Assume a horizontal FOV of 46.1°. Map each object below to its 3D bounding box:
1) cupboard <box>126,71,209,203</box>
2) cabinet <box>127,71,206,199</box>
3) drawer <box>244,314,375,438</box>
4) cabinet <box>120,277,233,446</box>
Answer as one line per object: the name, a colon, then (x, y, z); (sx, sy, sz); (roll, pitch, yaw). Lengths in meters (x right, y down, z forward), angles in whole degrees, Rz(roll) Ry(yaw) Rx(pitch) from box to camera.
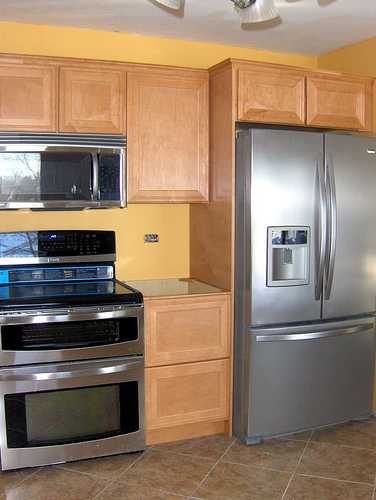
cupboard: (-0.177, -0.669, 2.703); (0.539, 0.693, 0.382); (-3, 14, -21)
cabinet: (-0.180, -0.666, 2.699); (0.521, 0.666, 0.362); (-3, 13, -21)
drawer: (0.599, 0.662, 2.767); (0.738, 0.640, 0.683); (-1, 7, -17)
cabinet: (-0.001, 0.627, 2.804); (0.711, 1.128, 0.779); (-2, 2, -25)
